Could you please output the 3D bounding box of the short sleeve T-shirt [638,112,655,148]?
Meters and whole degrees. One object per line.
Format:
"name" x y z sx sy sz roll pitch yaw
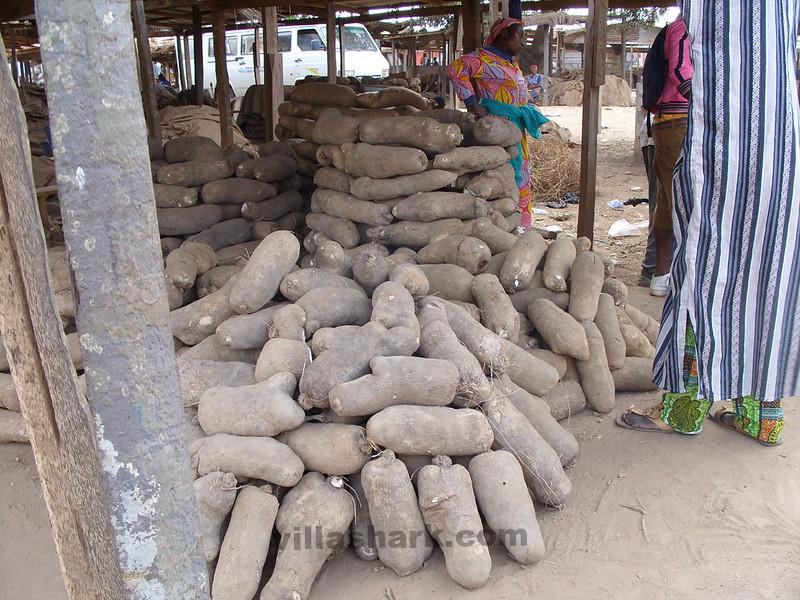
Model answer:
"short sleeve T-shirt" 2.399 -1.650 6.417 0.116 0.345 0.251 3 -5 -2

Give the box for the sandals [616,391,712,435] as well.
"sandals" 1.670 0.678 4.222 0.550 0.330 0.189 8 -5 31

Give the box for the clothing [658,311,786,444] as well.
"clothing" 1.893 0.368 4.030 0.810 0.962 0.403 8 26 31

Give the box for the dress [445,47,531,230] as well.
"dress" 1.107 -1.559 6.838 0.969 1.986 0.428 -16 13 -36
